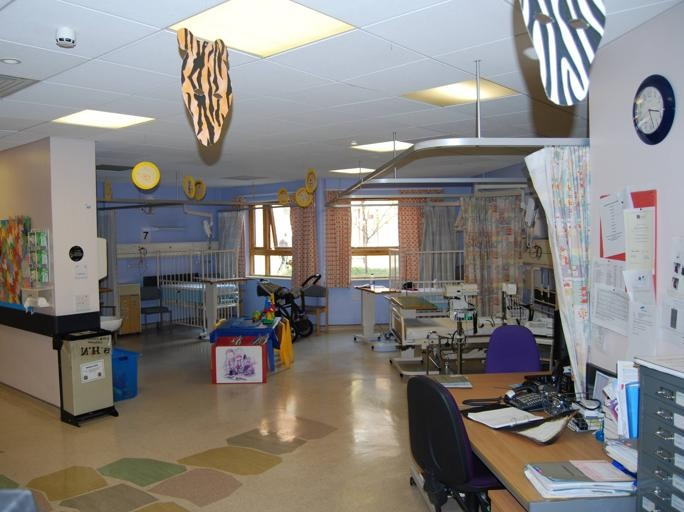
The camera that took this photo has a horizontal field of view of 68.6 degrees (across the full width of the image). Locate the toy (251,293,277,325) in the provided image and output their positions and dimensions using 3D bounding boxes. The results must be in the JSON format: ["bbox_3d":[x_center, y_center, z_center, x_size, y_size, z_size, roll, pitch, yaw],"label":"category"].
[{"bbox_3d":[-1.237,0.956,8.384,0.339,0.552,0.457,2,-5,-19],"label":"toy"}]

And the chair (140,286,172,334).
[{"bbox_3d":[-4.024,1.157,10.780,0.642,1.022,0.696,-2,3,-21],"label":"chair"}]

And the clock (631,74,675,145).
[{"bbox_3d":[2.122,-0.995,3.420,0.074,0.475,0.310,-2,6,-10],"label":"clock"}]

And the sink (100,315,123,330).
[{"bbox_3d":[-3.253,0.954,7.108,0.285,0.147,0.294,1,-4,-12],"label":"sink"}]

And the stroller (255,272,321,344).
[{"bbox_3d":[-1.141,0.930,10.209,1.352,1.450,0.812,5,8,9],"label":"stroller"}]

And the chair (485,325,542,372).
[{"bbox_3d":[1.645,0.929,5.078,0.394,0.600,0.518,-1,-7,3],"label":"chair"}]

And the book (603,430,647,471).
[{"bbox_3d":[1.754,1.235,3.123,0.176,0.051,0.184,-5,18,-4],"label":"book"}]

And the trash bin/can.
[{"bbox_3d":[-3.137,1.484,6.188,0.634,1.086,0.378,-5,7,-31],"label":"trash bin/can"}]

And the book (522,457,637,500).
[{"bbox_3d":[1.443,1.341,3.013,0.334,0.087,0.252,0,4,-6],"label":"book"}]

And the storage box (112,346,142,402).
[{"bbox_3d":[-3.053,1.667,7.045,0.399,0.616,0.558,-5,5,-28],"label":"storage box"}]

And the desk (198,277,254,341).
[{"bbox_3d":[-2.414,1.116,10.586,1.119,1.311,0.820,1,9,-21],"label":"desk"}]

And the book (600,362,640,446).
[{"bbox_3d":[1.777,0.959,3.180,0.175,0.596,0.481,2,6,22],"label":"book"}]

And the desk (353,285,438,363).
[{"bbox_3d":[0.938,1.262,9.961,1.090,1.232,1.266,-1,4,-15],"label":"desk"}]
